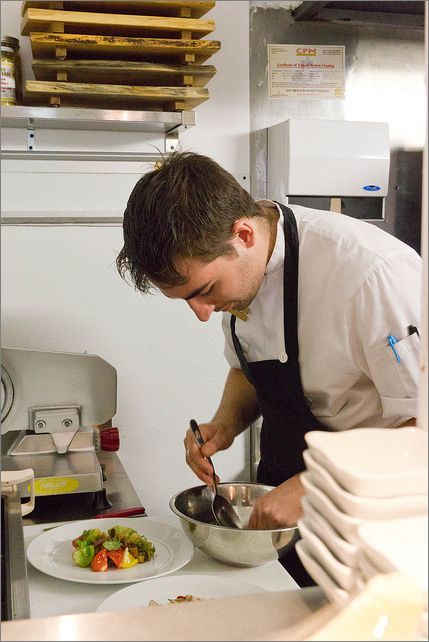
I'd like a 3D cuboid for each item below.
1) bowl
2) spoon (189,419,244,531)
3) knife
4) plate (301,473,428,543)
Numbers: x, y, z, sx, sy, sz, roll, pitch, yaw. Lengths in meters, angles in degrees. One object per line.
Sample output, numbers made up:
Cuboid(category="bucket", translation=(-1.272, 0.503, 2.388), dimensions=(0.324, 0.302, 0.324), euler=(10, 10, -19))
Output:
Cuboid(category="bowl", translation=(0.021, 0.332, 0.989), dimensions=(0.191, 0.125, 0.322), euler=(-1, 6, -4))
Cuboid(category="spoon", translation=(-0.022, 0.288, 1.173), dimensions=(0.062, 0.249, 0.035), euler=(-12, -26, -29))
Cuboid(category="knife", translation=(-0.239, 0.391, 1.167), dimensions=(0.211, 0.020, 0.030), euler=(-13, -29, 7))
Cuboid(category="plate", translation=(0.076, 0.091, 0.291), dimensions=(0.053, 0.016, 0.056), euler=(3, 0, -1))
